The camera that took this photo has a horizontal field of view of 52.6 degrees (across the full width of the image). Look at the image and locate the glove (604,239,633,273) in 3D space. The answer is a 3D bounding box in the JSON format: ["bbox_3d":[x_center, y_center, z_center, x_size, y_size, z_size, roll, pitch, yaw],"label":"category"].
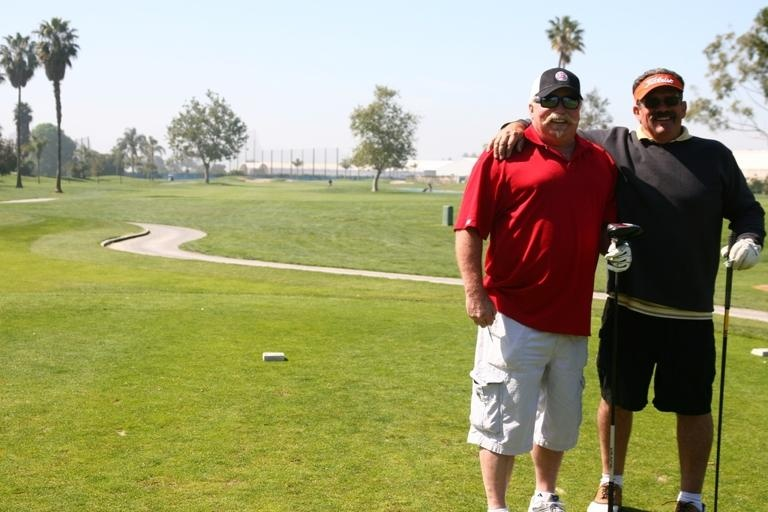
[{"bbox_3d":[1.641,0.002,5.497,0.187,0.240,0.137,4,7,31],"label":"glove"}]

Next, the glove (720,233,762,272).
[{"bbox_3d":[2.615,-0.012,5.678,0.221,0.224,0.157,3,6,18],"label":"glove"}]
